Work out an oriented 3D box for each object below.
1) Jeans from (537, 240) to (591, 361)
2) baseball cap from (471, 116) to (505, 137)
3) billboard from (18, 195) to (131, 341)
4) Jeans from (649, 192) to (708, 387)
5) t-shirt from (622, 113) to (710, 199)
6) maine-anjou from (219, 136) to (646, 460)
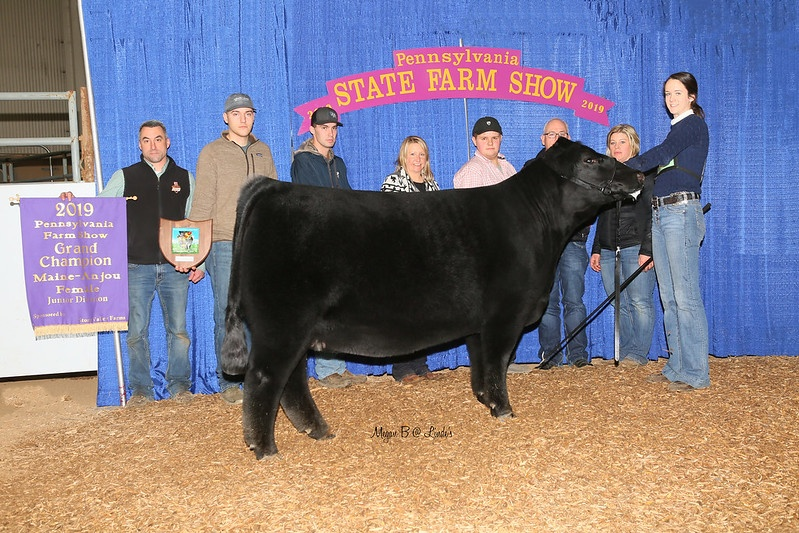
[{"bbox_3d":[1.922,0.403,9.067,0.444,1.528,0.642,1,-3,-18],"label":"Jeans"},{"bbox_3d":[0.946,-1.514,8.370,0.297,0.200,0.212,-1,8,1],"label":"baseball cap"},{"bbox_3d":[-3.295,-0.034,7.896,1.447,1.927,0.152,-3,-2,-14],"label":"billboard"},{"bbox_3d":[2.985,0.240,8.239,0.564,1.912,0.679,7,-11,-11],"label":"Jeans"},{"bbox_3d":[2.686,-1.160,8.044,0.933,0.959,0.753,2,5,11],"label":"t-shirt"},{"bbox_3d":[0.113,0.255,7.159,3.495,2.765,0.460,-3,8,-14],"label":"maine-anjou"}]
